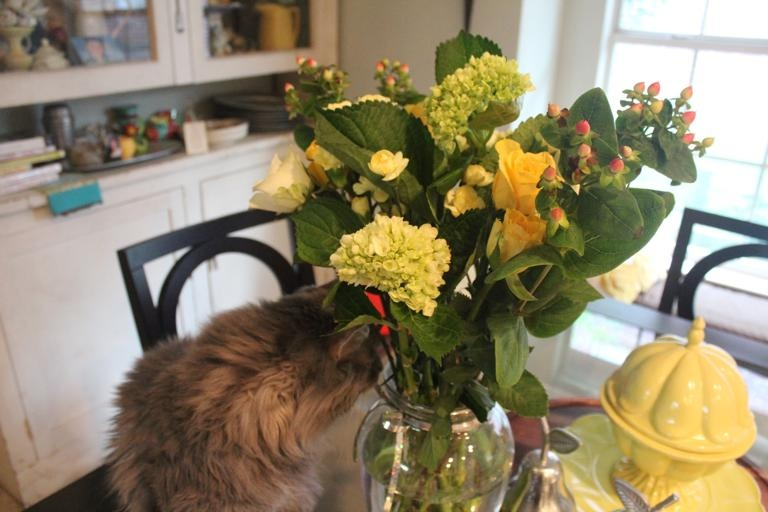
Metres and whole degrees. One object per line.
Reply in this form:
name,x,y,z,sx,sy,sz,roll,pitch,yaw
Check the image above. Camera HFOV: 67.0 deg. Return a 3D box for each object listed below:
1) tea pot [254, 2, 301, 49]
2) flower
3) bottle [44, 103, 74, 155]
tea pot,-0.461,-0.995,2.523,0.211,0.210,0.147,-10,28,-34
flower,0.093,0.065,0.977,0.664,0.815,0.335,17,26,28
bottle,-1.205,-0.475,2.139,0.101,0.155,0.103,6,26,-3
